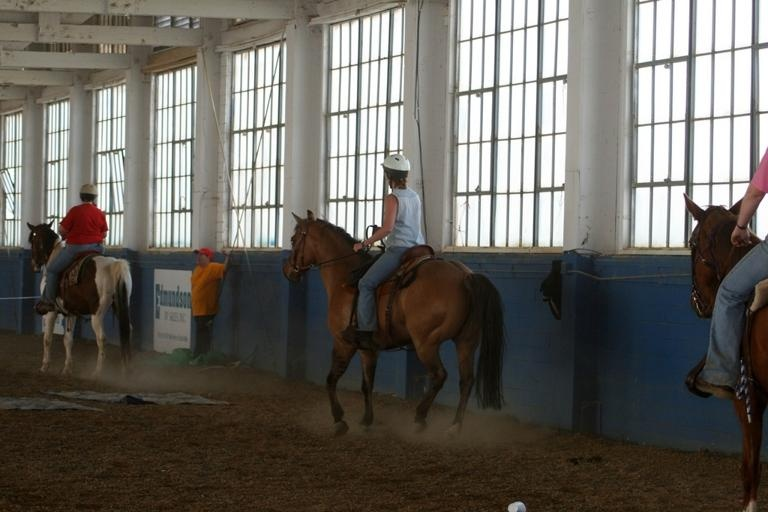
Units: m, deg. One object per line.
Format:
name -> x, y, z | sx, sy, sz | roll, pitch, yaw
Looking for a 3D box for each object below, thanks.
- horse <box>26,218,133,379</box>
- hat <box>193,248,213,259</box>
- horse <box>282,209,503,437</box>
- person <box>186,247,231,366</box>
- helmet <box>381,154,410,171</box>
horse -> -5.087, 0.771, 17.517 | 2.793, 2.531, 0.763 | 2, 1, 39
hat -> -3.099, -0.046, 18.038 | 0.269, 0.156, 0.175 | 30, -10, -20
horse -> 0.234, 0.956, 14.190 | 2.543, 2.449, 0.888 | 0, -1, 31
person -> -3.019, 0.843, 18.077 | 0.586, 1.898, 0.387 | 2, 0, -19
helmet -> 0.112, -1.224, 13.528 | 0.213, 0.155, 0.299 | 5, -5, -31
